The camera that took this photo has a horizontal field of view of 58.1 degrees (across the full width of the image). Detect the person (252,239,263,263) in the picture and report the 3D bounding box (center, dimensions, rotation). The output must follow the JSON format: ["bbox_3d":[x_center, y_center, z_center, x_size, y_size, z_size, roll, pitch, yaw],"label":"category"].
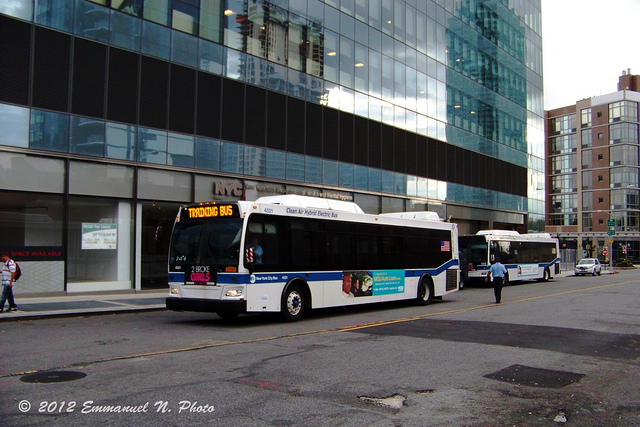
[{"bbox_3d":[-2.177,1.308,19.843,0.286,0.790,0.457,3,6,25],"label":"person"}]

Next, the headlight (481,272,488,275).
[{"bbox_3d":[11.054,4.043,38.748,0.418,0.153,0.060,2,6,26],"label":"headlight"}]

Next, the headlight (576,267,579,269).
[{"bbox_3d":[26.282,5.595,58.803,0.118,0.165,0.372,-1,4,-11],"label":"headlight"}]

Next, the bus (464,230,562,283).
[{"bbox_3d":[13.718,3.340,43.403,12.652,4.278,3.622,9,-12,-44],"label":"bus"}]
